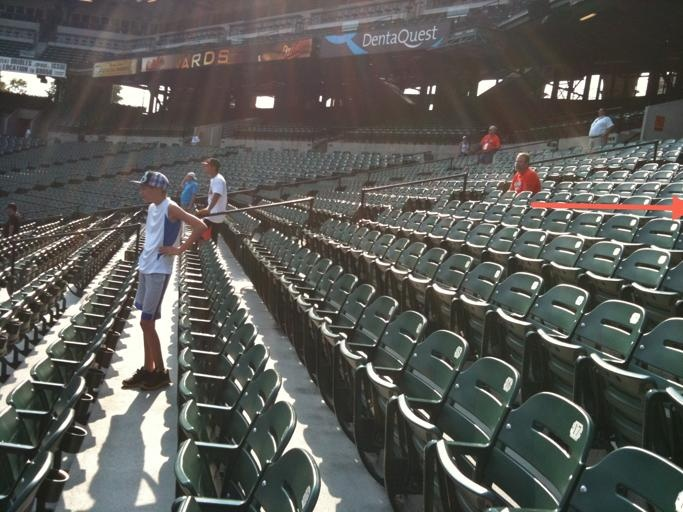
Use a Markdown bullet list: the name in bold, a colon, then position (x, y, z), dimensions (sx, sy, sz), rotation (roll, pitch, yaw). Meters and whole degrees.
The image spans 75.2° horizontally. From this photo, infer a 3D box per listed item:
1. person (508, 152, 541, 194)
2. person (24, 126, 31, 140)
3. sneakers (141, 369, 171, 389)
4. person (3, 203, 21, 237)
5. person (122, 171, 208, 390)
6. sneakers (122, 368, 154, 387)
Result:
- **person**: position (2.829, -1.282, 6.802), dimensions (0.424, 0.628, 0.731), rotation (4, 12, 21)
- **person**: position (-22.147, -8.811, 31.312), dimensions (0.490, 0.782, 1.420), rotation (-7, 13, -34)
- **sneakers**: position (-1.510, 1.031, 3.636), dimensions (0.236, 0.116, 0.093), rotation (-4, 4, -45)
- **person**: position (-7.286, -0.826, 9.767), dimensions (0.292, 0.685, 1.901), rotation (-7, 13, -35)
- **person**: position (-1.482, 0.215, 3.615), dimensions (0.698, 1.783, 0.648), rotation (-5, 11, -24)
- **sneakers**: position (-1.669, 1.031, 3.713), dimensions (0.297, 0.161, 0.119), rotation (-7, -14, 2)
